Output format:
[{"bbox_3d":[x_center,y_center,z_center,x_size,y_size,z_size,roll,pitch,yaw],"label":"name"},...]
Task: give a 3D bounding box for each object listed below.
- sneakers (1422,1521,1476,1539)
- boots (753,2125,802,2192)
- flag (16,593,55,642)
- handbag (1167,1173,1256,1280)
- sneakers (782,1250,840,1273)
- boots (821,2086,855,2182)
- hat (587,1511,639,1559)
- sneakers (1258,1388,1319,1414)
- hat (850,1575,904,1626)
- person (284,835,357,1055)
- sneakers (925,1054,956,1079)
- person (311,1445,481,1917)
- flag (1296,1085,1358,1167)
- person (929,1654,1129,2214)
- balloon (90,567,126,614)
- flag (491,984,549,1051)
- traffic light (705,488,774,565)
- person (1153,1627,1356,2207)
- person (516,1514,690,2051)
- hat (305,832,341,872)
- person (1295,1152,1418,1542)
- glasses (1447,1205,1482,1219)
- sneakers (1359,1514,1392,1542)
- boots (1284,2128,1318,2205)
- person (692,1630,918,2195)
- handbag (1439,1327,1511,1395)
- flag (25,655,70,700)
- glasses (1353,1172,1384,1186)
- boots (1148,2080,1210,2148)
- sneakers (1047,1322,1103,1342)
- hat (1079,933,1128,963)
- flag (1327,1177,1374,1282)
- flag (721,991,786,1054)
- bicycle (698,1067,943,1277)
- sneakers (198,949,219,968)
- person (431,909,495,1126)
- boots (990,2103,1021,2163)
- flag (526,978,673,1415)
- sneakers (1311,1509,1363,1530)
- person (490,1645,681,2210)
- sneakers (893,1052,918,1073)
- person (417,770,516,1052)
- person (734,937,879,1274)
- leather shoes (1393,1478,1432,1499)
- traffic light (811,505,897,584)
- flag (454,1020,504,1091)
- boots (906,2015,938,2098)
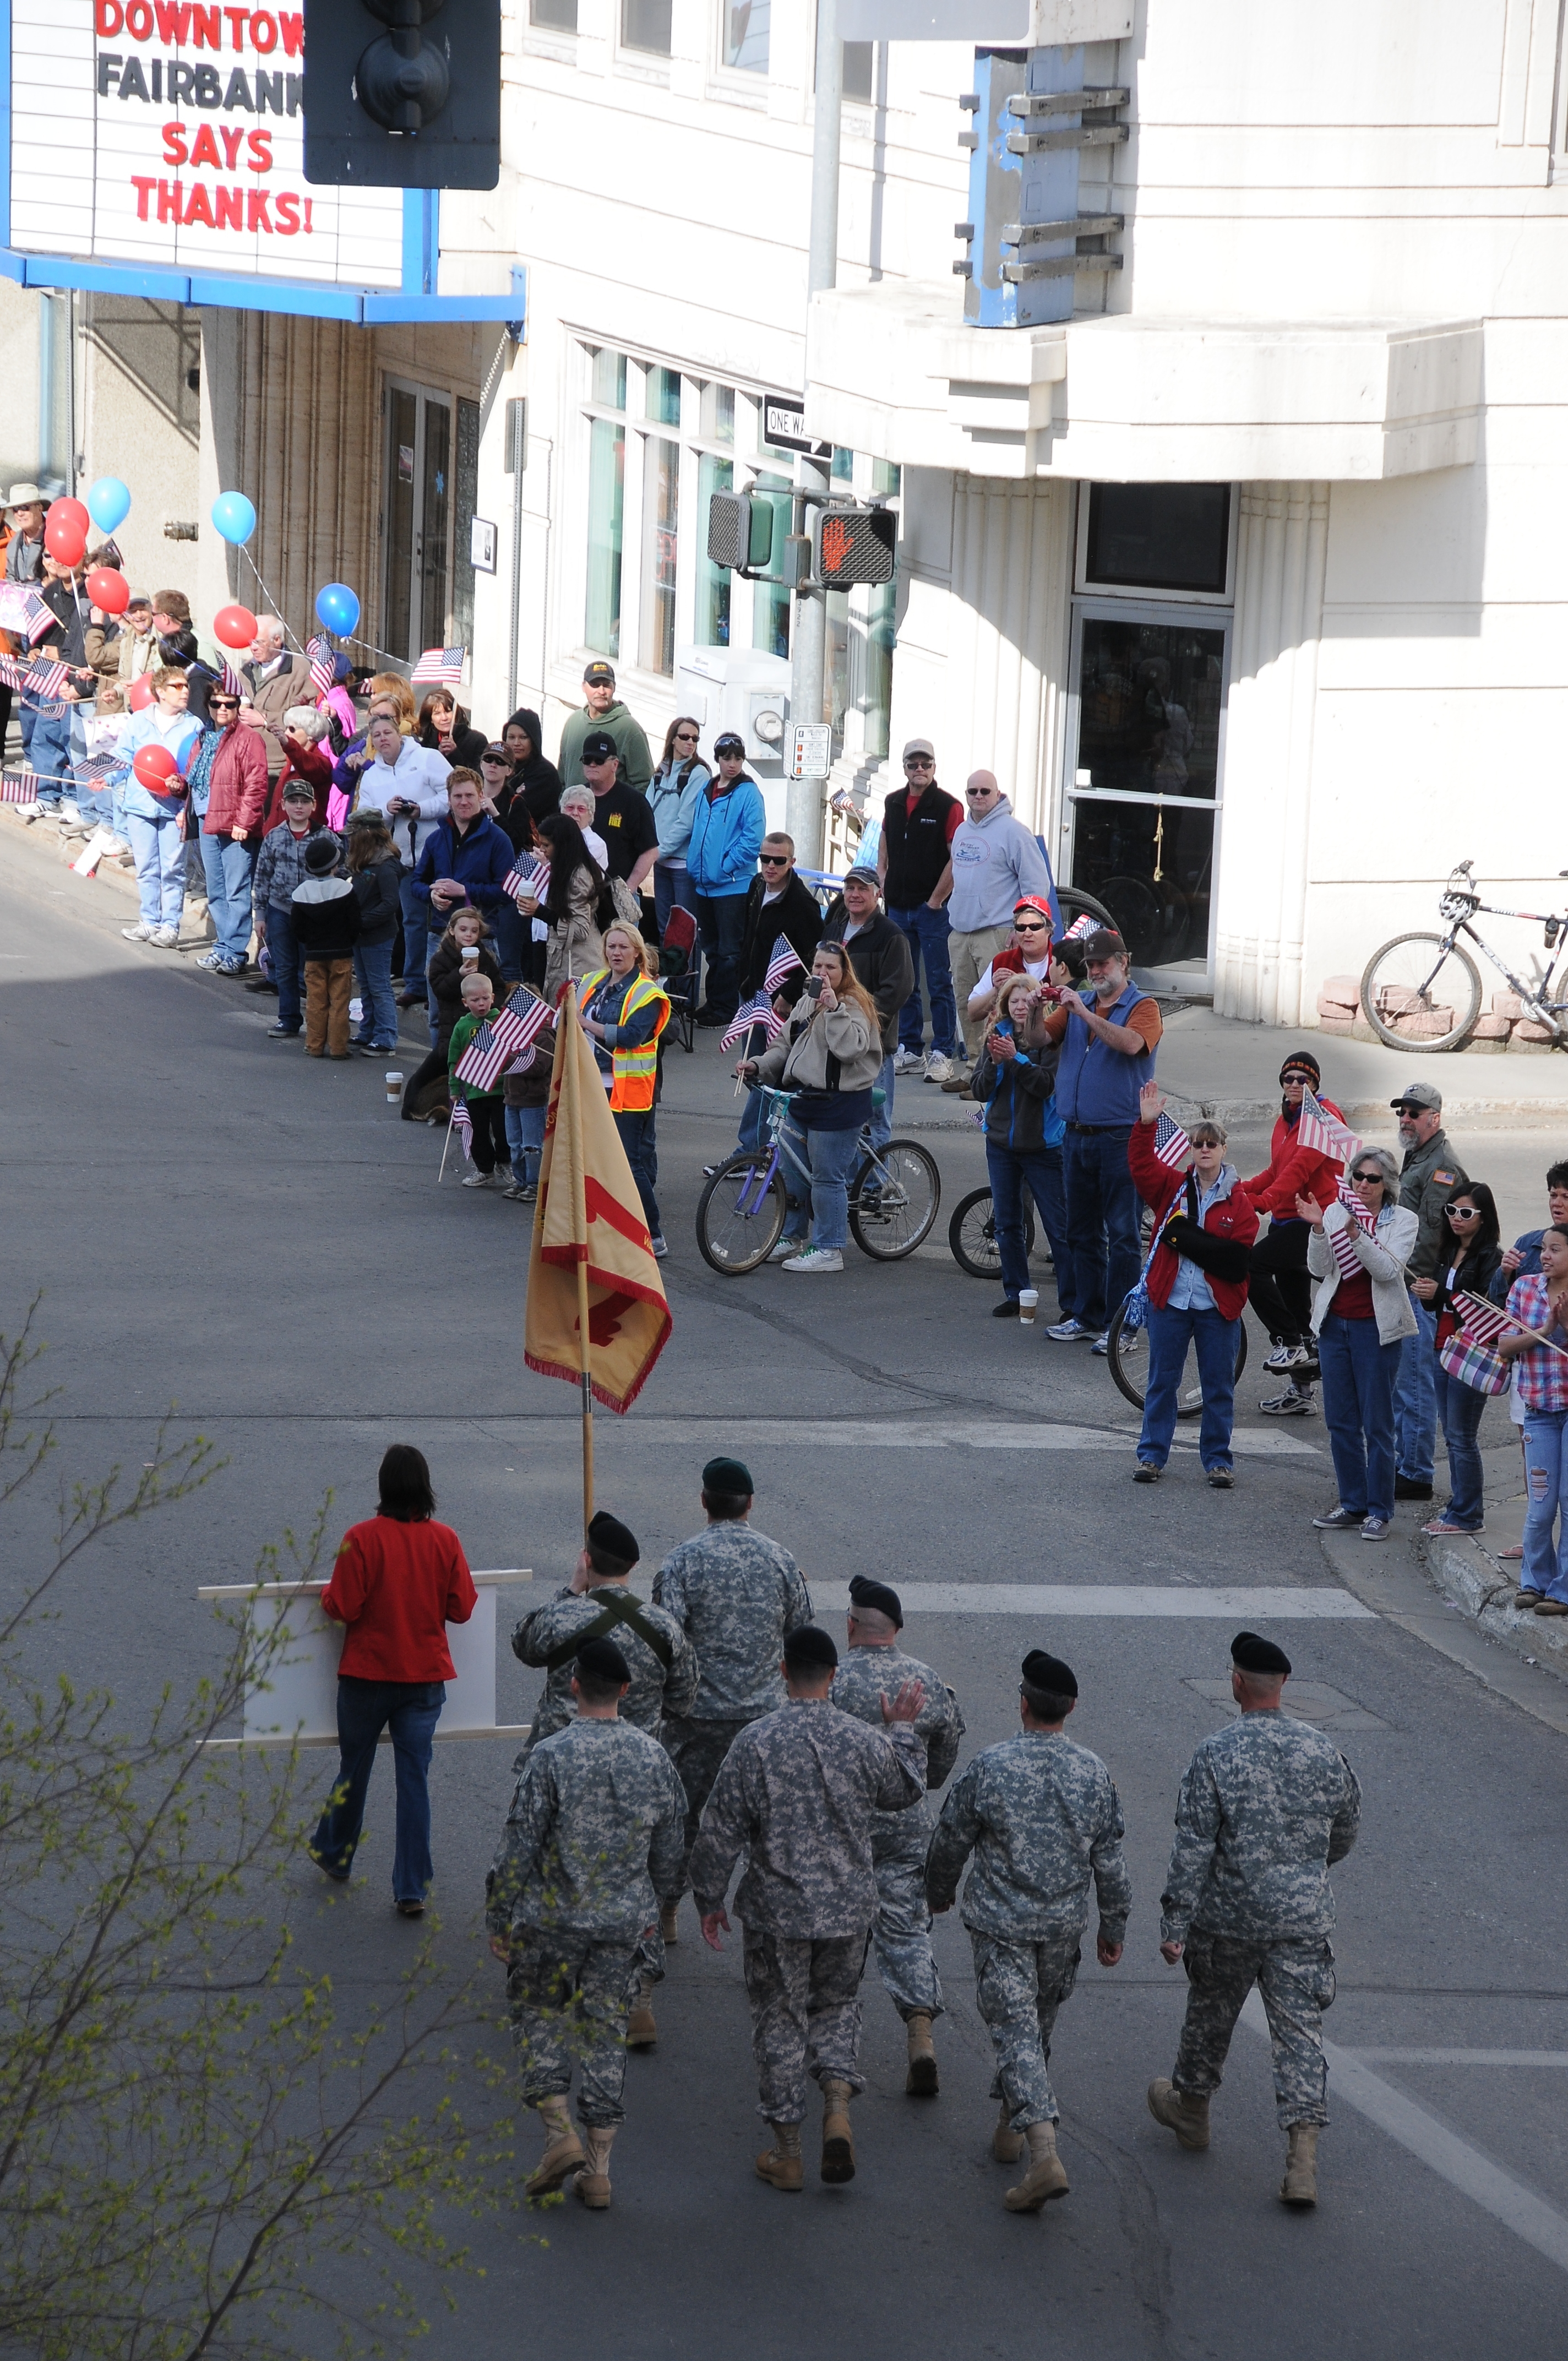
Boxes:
[{"bbox_3d":[2.614,1.379,13.010,0.186,0.079,0.069,2,5,14],"label":"sneakers"},{"bbox_3d":[0.003,2.248,7.606,0.081,0.139,0.147,-2,14,-13],"label":"boots"},{"bbox_3d":[-6.551,-4.935,28.938,0.294,0.464,0.730,1,10,-13],"label":"flag"},{"bbox_3d":[1.673,0.190,13.144,0.355,0.148,0.268,32,15,37],"label":"handbag"},{"bbox_3d":[0.144,0.408,16.915,0.283,0.128,0.115,1,6,-5],"label":"sneakers"},{"bbox_3d":[0.126,2.202,7.604,0.074,0.183,0.174,0,1,-2],"label":"boots"},{"bbox_3d":[-0.422,0.876,8.173,0.122,0.062,0.155,26,17,-20],"label":"hat"},{"bbox_3d":[2.297,0.991,15.030,0.300,0.127,0.109,1,12,4],"label":"sneakers"},{"bbox_3d":[0.230,1.056,8.295,0.131,0.076,0.176,25,-10,-3],"label":"hat"},{"bbox_3d":[-2.853,-1.438,20.572,0.417,1.450,0.962,2,10,-8],"label":"person"},{"bbox_3d":[0.996,-0.716,20.780,0.157,0.177,0.389,-1,1,7],"label":"sneakers"},{"bbox_3d":[-1.055,1.333,8.968,0.403,1.306,0.739,3,10,-6],"label":"person"},{"bbox_3d":[2.389,-0.233,14.551,0.349,0.363,0.040,27,-26,-24],"label":"flag"},{"bbox_3d":[0.543,1.718,7.670,0.470,1.183,0.628,5,10,8],"label":"person"},{"bbox_3d":[-5.968,-5.237,29.351,0.285,0.419,0.646,-1,11,-26],"label":"balloon"},{"bbox_3d":[-1.369,-0.839,17.197,0.238,0.308,0.186,31,-8,13],"label":"flag"},{"bbox_3d":[-0.258,-4.103,20.856,0.405,0.499,0.882,3,10,-2],"label":"traffic light"},{"bbox_3d":[1.113,1.742,7.836,0.425,1.242,0.652,5,10,10],"label":"person"},{"bbox_3d":[-0.367,1.458,8.401,0.459,1.356,0.387,-6,17,4],"label":"person"},{"bbox_3d":[-2.824,-2.007,20.312,0.216,0.242,0.273,2,10,-10],"label":"hat"},{"bbox_3d":[2.249,0.655,12.948,0.425,1.559,0.540,5,10,9],"label":"person"},{"bbox_3d":[2.695,0.124,13.072,0.114,0.082,0.070,8,11,21],"label":"glasses"},{"bbox_3d":[2.336,1.376,13.081,0.086,0.104,0.238,-2,-8,10],"label":"sneakers"},{"bbox_3d":[1.194,2.294,7.636,0.062,0.132,0.188,1,9,4],"label":"boots"},{"bbox_3d":[0.037,1.673,7.781,0.526,1.212,0.696,4,10,2],"label":"person"},{"bbox_3d":[2.582,0.669,12.305,0.243,0.227,0.133,28,28,22],"label":"handbag"},{"bbox_3d":[-6.233,-4.261,28.021,0.371,0.353,0.102,22,17,37],"label":"flag"},{"bbox_3d":[2.261,-0.002,12.717,0.027,0.044,0.103,-5,13,-40],"label":"glasses"},{"bbox_3d":[0.955,2.247,7.953,0.070,0.145,0.150,-13,51,-13],"label":"boots"},{"bbox_3d":[1.389,0.733,15.823,0.272,0.122,0.098,4,11,-1],"label":"sneakers"},{"bbox_3d":[1.481,-1.066,15.123,0.123,0.140,0.166,0,-8,4],"label":"hat"},{"bbox_3d":[2.184,0.207,12.750,0.193,0.369,0.146,9,11,28],"label":"flag"},{"bbox_3d":[-0.100,-0.819,17.004,0.267,0.297,0.390,17,-25,-31],"label":"flag"},{"bbox_3d":[0.198,-0.022,16.900,1.582,0.947,0.662,-5,16,-38],"label":"bicycle"},{"bbox_3d":[-4.164,-1.608,23.991,0.104,0.120,0.284,2,12,-15],"label":"sneakers"},{"bbox_3d":[-1.755,-0.992,18.732,0.374,1.195,0.344,-5,15,1],"label":"person"},{"bbox_3d":[0.520,2.253,7.792,0.063,0.145,0.153,1,2,2],"label":"boots"},{"bbox_3d":[-0.572,0.100,10.110,0.433,1.355,0.692,4,10,4],"label":"flag"},{"bbox_3d":[2.225,1.357,13.217,0.215,0.085,0.076,4,-2,-27],"label":"sneakers"},{"bbox_3d":[-0.465,1.693,7.568,0.409,1.267,0.964,4,10,2],"label":"person"},{"bbox_3d":[0.770,-0.744,20.911,0.137,0.133,0.315,-1,-3,2],"label":"sneakers"},{"bbox_3d":[-1.987,-1.588,20.281,0.627,1.785,0.550,8,18,13],"label":"person"},{"bbox_3d":[0.128,-0.357,16.434,0.720,1.634,0.684,2,2,-28],"label":"person"},{"bbox_3d":[2.629,1.289,13.778,0.142,0.078,0.094,-7,-9,3],"label":"leather shoes"},{"bbox_3d":[0.419,-3.872,20.198,0.486,0.477,0.384,5,10,9],"label":"traffic light"},{"bbox_3d":[-1.583,-0.650,17.330,0.325,0.351,0.028,13,19,34],"label":"flag"},{"bbox_3d":[0.342,2.174,8.178,0.078,0.191,0.185,-1,15,-3],"label":"boots"}]
